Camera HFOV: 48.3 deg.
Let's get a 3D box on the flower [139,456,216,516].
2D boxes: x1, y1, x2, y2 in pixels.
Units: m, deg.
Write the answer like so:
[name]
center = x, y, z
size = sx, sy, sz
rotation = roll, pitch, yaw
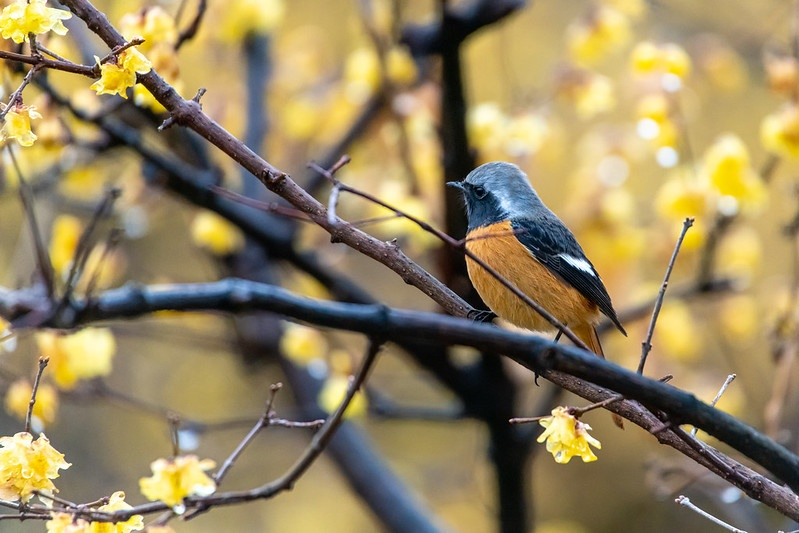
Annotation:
[flower]
center = -1.230, 1.220, 5.021
size = 0.400, 0.254, 0.331
rotation = -7, -61, -5
